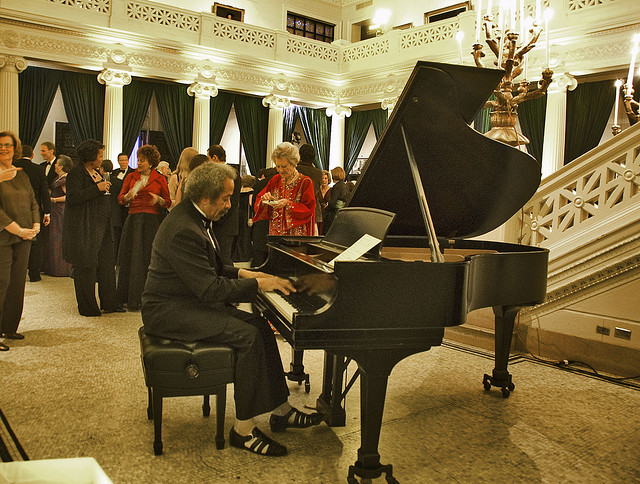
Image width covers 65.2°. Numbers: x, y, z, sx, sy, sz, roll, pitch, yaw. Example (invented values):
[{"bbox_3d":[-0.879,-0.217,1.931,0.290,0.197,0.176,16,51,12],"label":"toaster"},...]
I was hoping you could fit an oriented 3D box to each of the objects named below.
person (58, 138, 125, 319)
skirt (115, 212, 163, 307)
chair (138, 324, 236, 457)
[{"bbox_3d":[-2.595,-0.165,5.692,0.642,1.966,0.842,-3,11,-28],"label":"person"},{"bbox_3d":[-2.147,0.197,5.792,0.594,1.156,0.316,8,12,29],"label":"skirt"},{"bbox_3d":[-0.854,0.809,3.397,0.586,0.742,1.044,3,-5,-13],"label":"chair"}]
